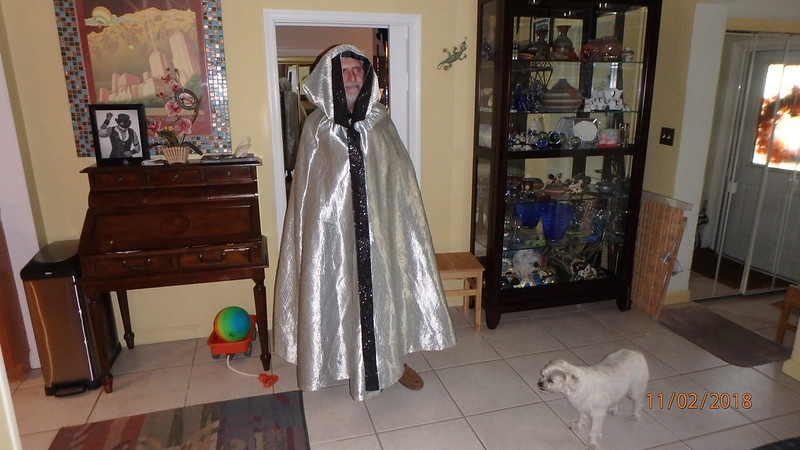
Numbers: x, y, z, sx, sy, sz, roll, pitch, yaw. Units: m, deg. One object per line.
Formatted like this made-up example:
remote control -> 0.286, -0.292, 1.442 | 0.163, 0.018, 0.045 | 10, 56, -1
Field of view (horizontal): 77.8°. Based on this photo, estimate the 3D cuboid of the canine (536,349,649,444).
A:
canine -> 1.628, 1.431, 4.184 | 0.948, 0.715, 0.386 | -13, 24, -27

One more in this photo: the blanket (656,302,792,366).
blanket -> 3.363, 1.152, 5.117 | 0.517, 0.007, 0.751 | -11, 22, -29

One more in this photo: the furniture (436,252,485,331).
furniture -> 0.634, 0.673, 5.179 | 0.492, 0.584, 0.598 | -6, 30, -7

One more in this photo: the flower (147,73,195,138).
flower -> -2.189, -1.152, 4.764 | 0.457, 0.654, 0.228 | 1, 22, 9

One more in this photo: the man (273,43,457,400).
man -> -0.423, -0.003, 4.266 | 1.495, 2.901, 0.990 | -9, 23, -15

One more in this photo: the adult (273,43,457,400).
adult -> -0.424, -0.003, 4.266 | 1.493, 2.901, 0.991 | -9, 23, -15
